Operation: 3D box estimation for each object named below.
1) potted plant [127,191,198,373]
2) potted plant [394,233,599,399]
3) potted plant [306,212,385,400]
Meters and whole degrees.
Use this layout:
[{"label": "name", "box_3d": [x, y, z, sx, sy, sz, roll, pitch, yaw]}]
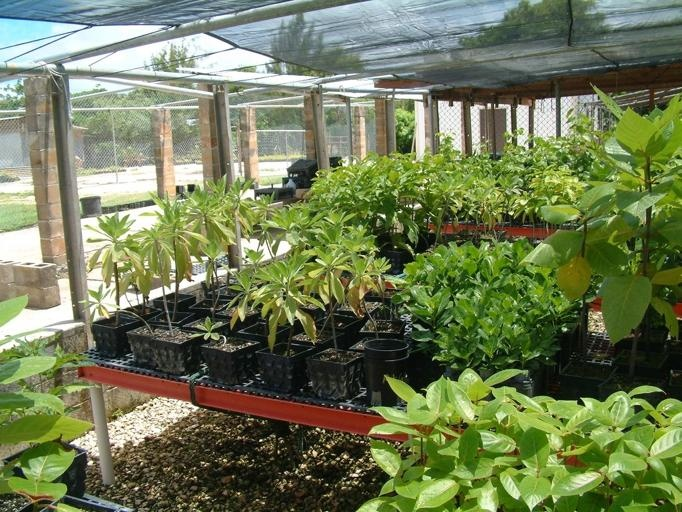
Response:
[{"label": "potted plant", "box_3d": [-1.087, 0.151, 3.224, 0.500, 1.008, 0.680, -6, 10, -8]}, {"label": "potted plant", "box_3d": [0.700, 0.260, 2.565, 0.958, 0.401, 0.948, 6, 26, 29]}, {"label": "potted plant", "box_3d": [0.038, 0.206, 3.009, 0.470, 0.871, 1.017, -5, 9, 1]}]
